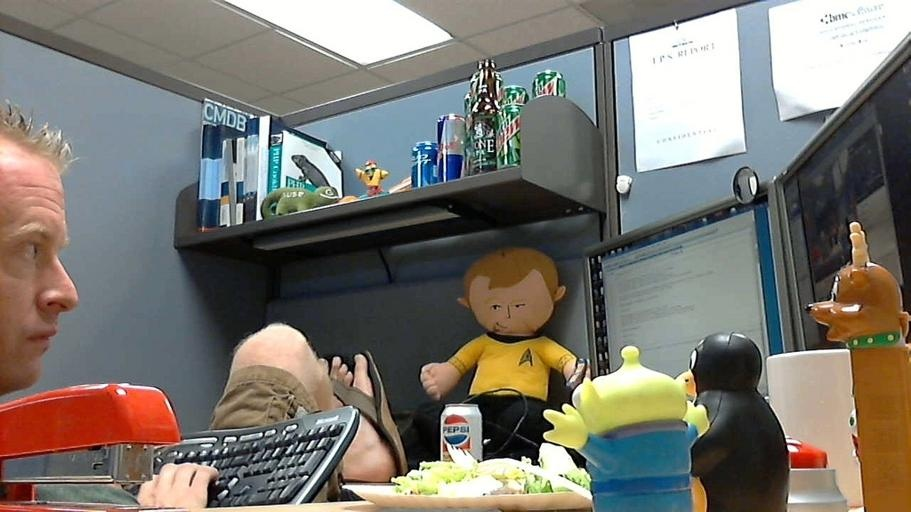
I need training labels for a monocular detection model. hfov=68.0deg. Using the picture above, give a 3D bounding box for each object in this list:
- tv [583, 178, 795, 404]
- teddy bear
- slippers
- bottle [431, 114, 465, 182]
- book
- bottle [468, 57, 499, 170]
[{"bbox_3d":[0.464,0.065,1.315,0.053,0.345,0.477,7,-10,-34],"label":"tv"},{"bbox_3d":[0.127,0.240,1.583,0.454,0.571,0.237,-4,-32,17],"label":"teddy bear"},{"bbox_3d":[-0.212,0.382,1.627,0.164,0.305,0.092,-3,-44,-12],"label":"slippers"},{"bbox_3d":[-0.013,-0.280,1.750,0.086,0.173,0.042,-6,-9,8],"label":"bottle"},{"bbox_3d":[-0.546,-0.248,1.950,0.218,0.358,0.401,-7,-12,39],"label":"book"},{"bbox_3d":[0.070,-0.351,1.698,0.103,0.303,0.066,-5,-9,5],"label":"bottle"}]
